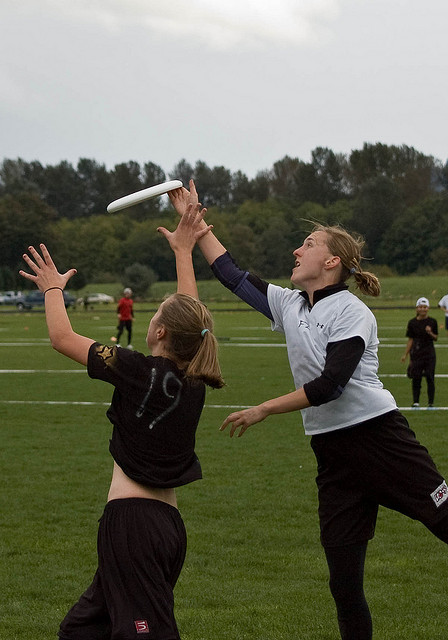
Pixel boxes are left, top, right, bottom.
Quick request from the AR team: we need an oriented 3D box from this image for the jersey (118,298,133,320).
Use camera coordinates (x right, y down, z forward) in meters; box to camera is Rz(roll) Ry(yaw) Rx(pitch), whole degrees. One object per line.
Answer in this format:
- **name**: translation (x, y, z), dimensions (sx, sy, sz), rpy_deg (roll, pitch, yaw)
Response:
- **jersey**: translation (-2.324, -0.259, 20.932), dimensions (0.300, 0.510, 0.545), rpy_deg (4, 6, -6)

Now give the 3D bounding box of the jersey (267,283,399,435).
- **jersey**: translation (0.515, 0.211, 4.468), dimensions (0.509, 0.742, 0.701), rpy_deg (2, 7, -27)

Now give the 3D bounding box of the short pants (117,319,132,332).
- **short pants**: translation (-2.459, 0.134, 22.070), dimensions (0.486, 0.376, 0.165), rpy_deg (2, -3, -3)

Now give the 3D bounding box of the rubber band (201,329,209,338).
- **rubber band**: translation (-0.087, 0.064, 3.937), dimensions (0.031, 0.030, 0.023), rpy_deg (39, -12, -33)

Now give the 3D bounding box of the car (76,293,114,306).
- **car**: translation (-10.168, -1.456, 69.520), dimensions (3.207, 0.910, 1.346), rpy_deg (2, 4, 0)

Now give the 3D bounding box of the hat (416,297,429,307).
- **hat**: translation (2.536, -0.240, 11.210), dimensions (0.158, 0.097, 0.143), rpy_deg (2, -7, -3)

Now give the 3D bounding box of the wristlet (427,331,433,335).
- **wristlet**: translation (2.606, 0.160, 11.159), dimensions (0.032, 0.042, 0.090), rpy_deg (10, 8, 41)

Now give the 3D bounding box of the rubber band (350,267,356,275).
- **rubber band**: translation (0.655, -0.254, 4.473), dimensions (0.024, 0.029, 0.010), rpy_deg (-3, -19, 28)
